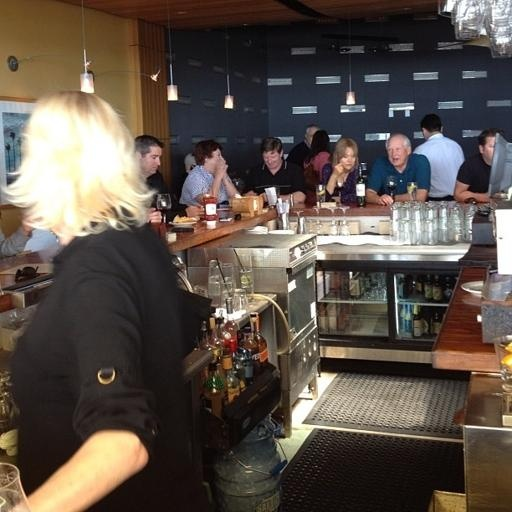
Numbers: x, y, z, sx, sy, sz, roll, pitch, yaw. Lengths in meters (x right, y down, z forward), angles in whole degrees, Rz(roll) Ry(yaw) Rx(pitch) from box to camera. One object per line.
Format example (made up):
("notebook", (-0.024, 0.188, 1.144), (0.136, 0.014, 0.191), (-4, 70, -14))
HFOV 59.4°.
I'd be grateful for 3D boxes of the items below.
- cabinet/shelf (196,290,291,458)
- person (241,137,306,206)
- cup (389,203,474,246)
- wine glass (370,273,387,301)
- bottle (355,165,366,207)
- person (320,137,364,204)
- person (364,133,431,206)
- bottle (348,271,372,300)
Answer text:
("cabinet/shelf", (-0.072, 0.667, 2.410), (0.273, 0.479, 0.546), (5, 13, 27))
("person", (0.240, -0.991, 5.944), (0.855, 1.083, 0.610), (-1, 13, 15))
("cup", (1.586, -0.299, 4.012), (0.598, 0.228, 0.412), (1, 8, 13))
("wine glass", (1.102, 0.275, 4.071), (0.140, 0.256, 0.104), (-2, 11, 14))
("bottle", (1.136, -0.745, 4.871), (0.083, 0.384, 0.367), (-1, 11, 16))
("person", (1.060, -0.988, 5.466), (0.521, 0.783, 0.572), (13, 27, 32))
("person", (1.555, -0.991, 5.070), (0.668, 0.768, 0.822), (1, 12, 27))
("bottle", (0.955, 0.252, 4.124), (0.264, 0.249, 0.135), (-5, 11, -18))
